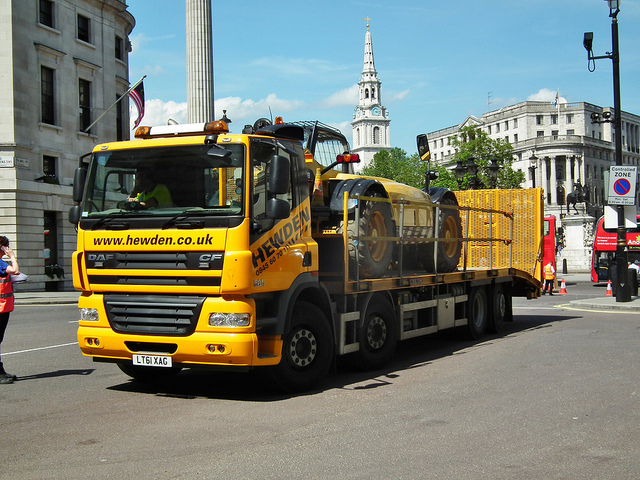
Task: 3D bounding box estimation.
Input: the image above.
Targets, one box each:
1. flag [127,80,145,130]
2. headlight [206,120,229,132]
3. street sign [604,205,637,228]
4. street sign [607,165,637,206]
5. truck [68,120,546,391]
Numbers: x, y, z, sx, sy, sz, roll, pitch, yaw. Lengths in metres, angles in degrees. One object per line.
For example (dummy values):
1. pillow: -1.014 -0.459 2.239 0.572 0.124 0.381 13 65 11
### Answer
1. flag: -9.554 -7.153 34.499 0.657 2.482 2.938 -1 1 -16
2. headlight: -1.396 -1.539 8.956 0.285 0.157 0.224 1 1 39
3. street sign: 9.802 -0.754 21.605 0.898 0.720 1.876 0 1 -3
4. street sign: 9.622 -1.726 21.137 0.749 1.219 0.466 1 2 33
5. truck: 0.418 0.212 13.268 3.948 4.664 11.202 -4 -4 35
